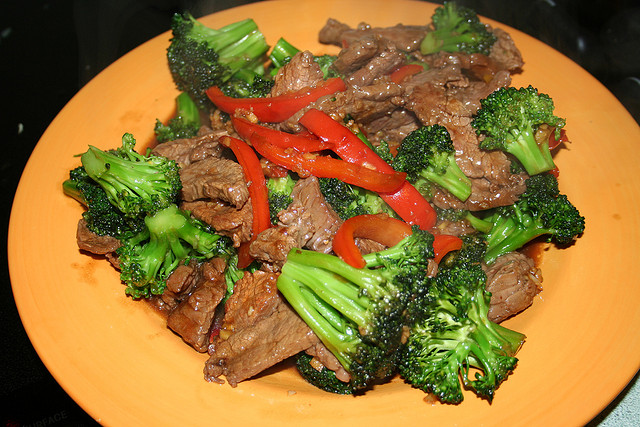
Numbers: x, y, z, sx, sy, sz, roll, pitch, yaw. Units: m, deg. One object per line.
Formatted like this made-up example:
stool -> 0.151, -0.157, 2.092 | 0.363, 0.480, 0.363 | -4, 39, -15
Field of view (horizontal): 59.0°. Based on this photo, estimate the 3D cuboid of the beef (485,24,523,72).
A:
beef -> 2.194, -1.939, 6.654 | 0.318, 0.129, 0.531 | 1, 65, 7

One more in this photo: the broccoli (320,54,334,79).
broccoli -> 0.076, -1.748, 6.735 | 0.158, 0.071, 0.273 | 11, 79, 2
